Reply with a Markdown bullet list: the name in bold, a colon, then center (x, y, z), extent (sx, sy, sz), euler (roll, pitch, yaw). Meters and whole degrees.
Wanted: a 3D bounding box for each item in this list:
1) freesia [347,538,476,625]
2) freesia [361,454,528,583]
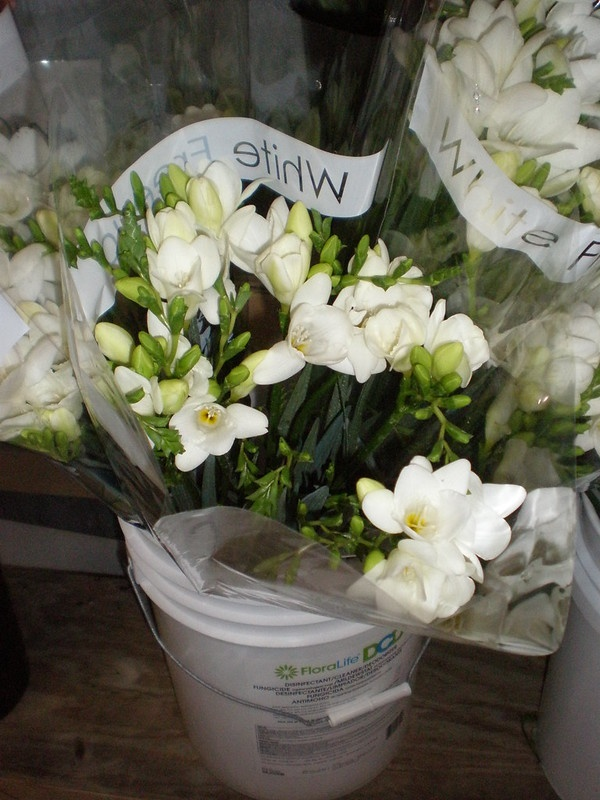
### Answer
- **freesia**: center (0.056, 0.102, 0.364), extent (0.055, 0.025, 0.051), euler (3, 76, 7)
- **freesia**: center (0.077, 0.061, 0.373), extent (0.082, 0.040, 0.077), euler (-12, 86, -4)
